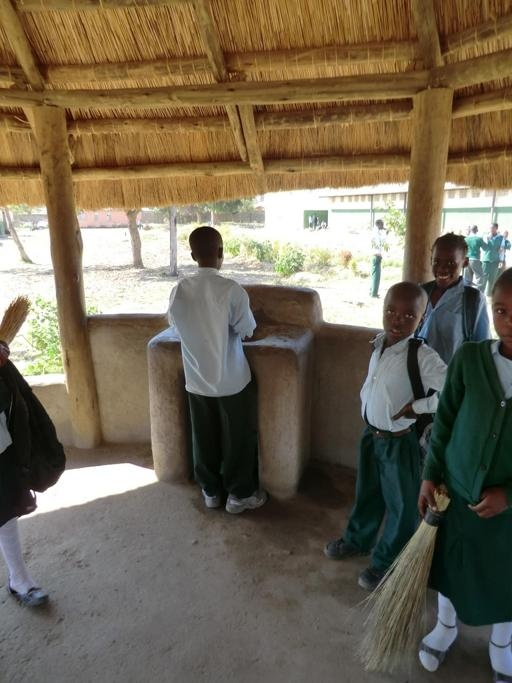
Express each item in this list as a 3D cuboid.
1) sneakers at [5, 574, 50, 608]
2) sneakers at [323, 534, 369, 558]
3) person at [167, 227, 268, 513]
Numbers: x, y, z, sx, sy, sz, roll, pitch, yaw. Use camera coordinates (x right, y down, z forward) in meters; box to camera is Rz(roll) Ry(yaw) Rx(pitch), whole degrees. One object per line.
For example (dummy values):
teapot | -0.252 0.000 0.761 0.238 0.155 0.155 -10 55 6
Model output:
sneakers | -0.876 0.964 1.911 0.157 0.069 0.059 -4 -2 25
sneakers | 0.381 0.874 2.121 0.179 0.084 0.073 2 22 2
person | -0.192 0.156 2.407 0.433 1.391 0.305 -2 12 -1
